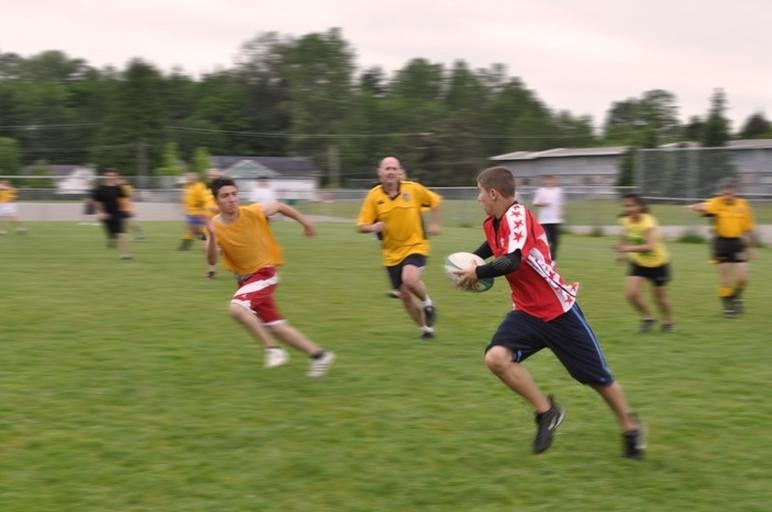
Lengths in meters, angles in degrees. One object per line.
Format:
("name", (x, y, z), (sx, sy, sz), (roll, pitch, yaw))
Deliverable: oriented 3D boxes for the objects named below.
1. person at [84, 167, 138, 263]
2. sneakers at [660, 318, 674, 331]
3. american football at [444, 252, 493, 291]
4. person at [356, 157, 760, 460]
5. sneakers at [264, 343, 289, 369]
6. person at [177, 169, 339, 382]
("person", (-5.920, -0.940, 17.903), (0.774, 1.844, 1.233), (-7, 13, -16))
("sneakers", (3.774, 0.922, 11.104), (0.192, 0.123, 0.182), (-1, 4, 33))
("american football", (0.709, 0.147, 7.805), (0.584, 0.227, 0.362), (15, 13, 10))
("person", (1.376, 0.489, 7.748), (1.439, 2.655, 1.381), (-5, 13, -12))
("sneakers", (-1.193, 1.119, 9.150), (0.259, 0.201, 0.376), (-4, -14, 1))
("person", (-1.317, 0.235, 9.042), (1.152, 2.239, 0.579), (-4, 14, -5))
